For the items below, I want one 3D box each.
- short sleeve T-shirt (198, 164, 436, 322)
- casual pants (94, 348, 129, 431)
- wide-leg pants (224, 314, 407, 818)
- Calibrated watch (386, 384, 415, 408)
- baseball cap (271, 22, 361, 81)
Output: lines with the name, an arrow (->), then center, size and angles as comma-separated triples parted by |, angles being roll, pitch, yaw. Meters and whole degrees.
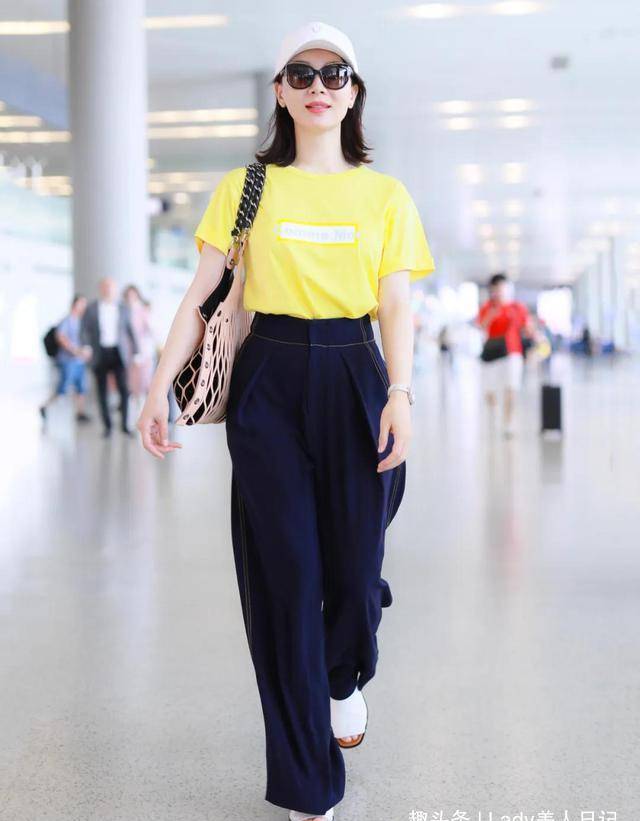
short sleeve T-shirt -> 0.041, -0.324, 1.704 | 0.376, 0.298, 0.160 | -4, 7, -24
casual pants -> -2.259, -0.167, 9.301 | 0.365, 0.967, 0.760 | -2, 7, -15
wide-leg pants -> -0.012, 0.287, 1.714 | 0.356, 0.943, 0.274 | 0, 6, 4
Calibrated watch -> 0.155, -0.032, 1.641 | 0.044, 0.036, 0.053 | 17, -28, 5
baseball cap -> -0.005, -0.716, 1.766 | 0.134, 0.110, 0.218 | 1, 13, 0
